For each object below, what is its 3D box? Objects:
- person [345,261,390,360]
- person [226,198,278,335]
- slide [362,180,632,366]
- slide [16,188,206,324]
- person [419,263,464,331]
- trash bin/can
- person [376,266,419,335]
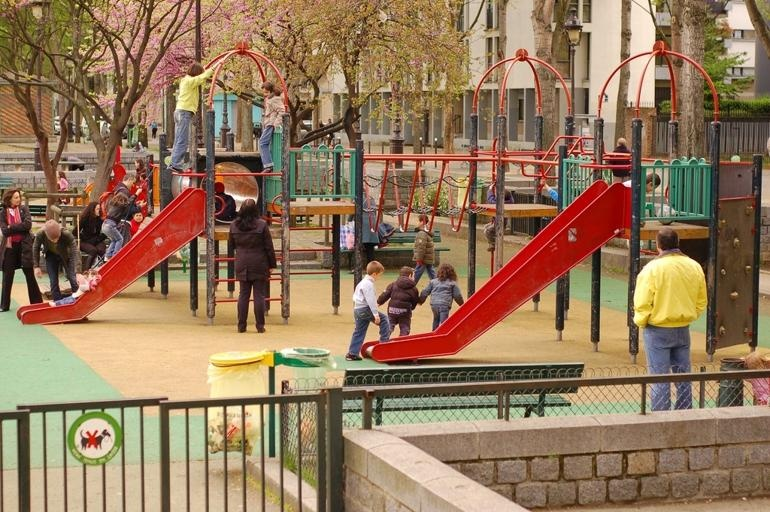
[{"bbox_3d":[-0.340,1.170,37.898,1.103,2.127,0.841,3,-2,-1],"label":"person"},{"bbox_3d":[-2.850,0.221,40.274,1.032,2.899,0.972,3,9,22],"label":"person"},{"bbox_3d":[2.683,0.308,38.313,5.223,3.682,0.731,-2,2,-10],"label":"slide"},{"bbox_3d":[-6.093,0.091,41.085,4.530,2.450,1.341,-9,7,-6],"label":"slide"},{"bbox_3d":[1.245,0.914,38.973,0.896,1.455,1.251,-1,-4,-5],"label":"person"},{"bbox_3d":[-2.254,2.729,33.426,1.432,2.551,1.806,-2,3,-41],"label":"trash bin/can"},{"bbox_3d":[0.333,1.010,38.574,0.817,1.507,0.778,4,-6,-40],"label":"person"}]
